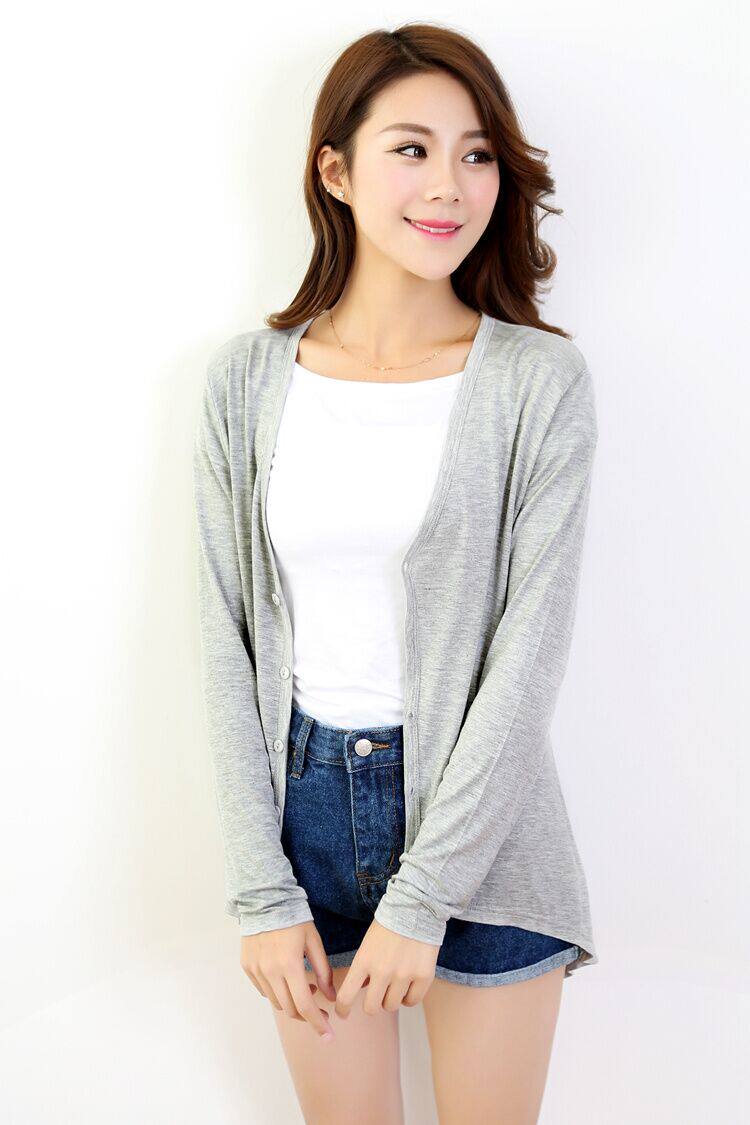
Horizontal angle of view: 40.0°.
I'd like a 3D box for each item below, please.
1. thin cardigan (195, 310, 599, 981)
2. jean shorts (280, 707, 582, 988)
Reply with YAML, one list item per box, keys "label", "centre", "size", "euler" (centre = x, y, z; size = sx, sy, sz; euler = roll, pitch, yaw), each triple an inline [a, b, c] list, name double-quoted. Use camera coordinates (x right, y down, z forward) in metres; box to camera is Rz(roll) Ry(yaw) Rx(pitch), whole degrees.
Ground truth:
- label: "thin cardigan"
  centre: [0.018, 0.103, 1.637]
  size: [0.718, 1.031, 0.397]
  euler: [5, 4, 13]
- label: "jean shorts"
  centre: [0.082, 0.431, 1.568]
  size: [0.426, 0.304, 0.164]
  euler: [9, 19, 23]
